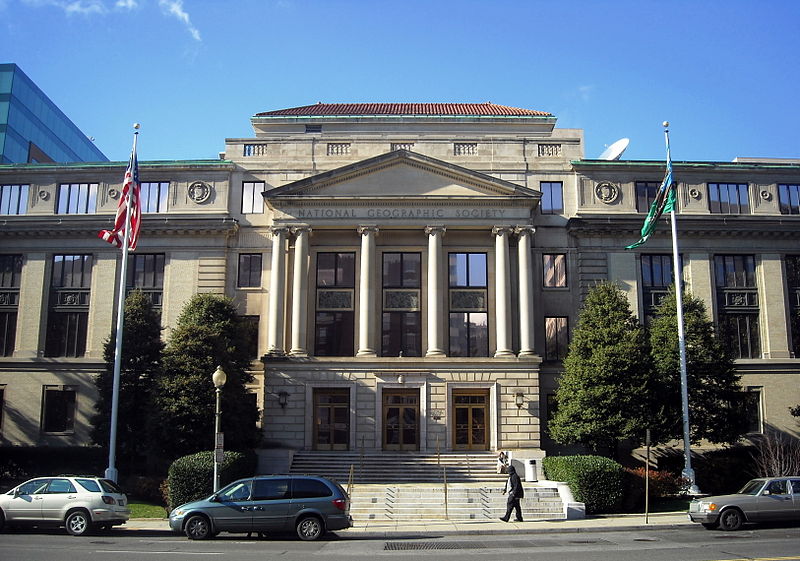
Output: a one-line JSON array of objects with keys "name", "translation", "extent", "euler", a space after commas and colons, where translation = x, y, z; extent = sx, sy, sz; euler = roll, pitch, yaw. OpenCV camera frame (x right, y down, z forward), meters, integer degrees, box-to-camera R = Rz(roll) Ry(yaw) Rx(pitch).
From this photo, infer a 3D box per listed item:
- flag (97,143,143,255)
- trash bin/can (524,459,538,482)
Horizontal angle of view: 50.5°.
[{"name": "flag", "translation": [-15.302, -3.917, 48.466], "extent": [2.237, 8.026, 2.717], "euler": [3, -5, 11]}, {"name": "trash bin/can", "translation": [7.617, 10.931, 49.315], "extent": [0.681, 1.288, 0.974], "euler": [2, -13, -1]}]
